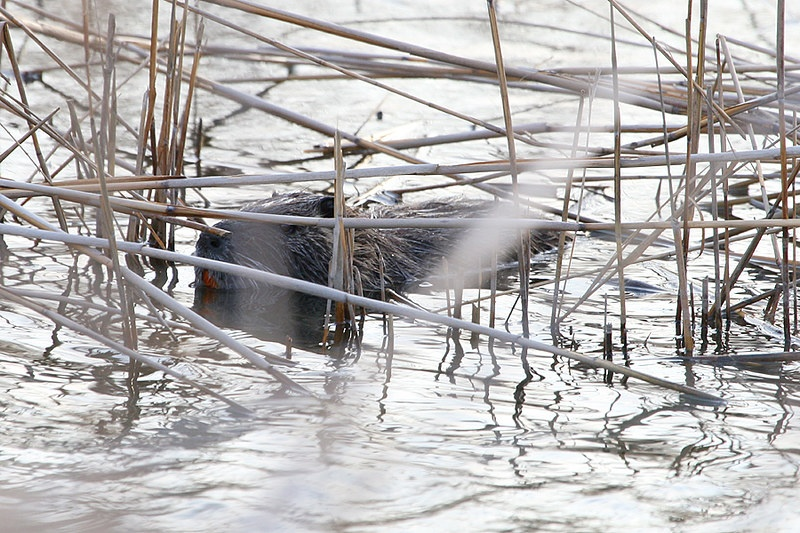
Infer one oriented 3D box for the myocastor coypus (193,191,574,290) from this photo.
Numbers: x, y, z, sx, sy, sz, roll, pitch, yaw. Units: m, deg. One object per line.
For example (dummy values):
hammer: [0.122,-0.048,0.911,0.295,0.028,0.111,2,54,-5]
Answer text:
myocastor coypus: [0.390,-0.071,6.816,2.452,0.597,0.630,-17,6,-41]
